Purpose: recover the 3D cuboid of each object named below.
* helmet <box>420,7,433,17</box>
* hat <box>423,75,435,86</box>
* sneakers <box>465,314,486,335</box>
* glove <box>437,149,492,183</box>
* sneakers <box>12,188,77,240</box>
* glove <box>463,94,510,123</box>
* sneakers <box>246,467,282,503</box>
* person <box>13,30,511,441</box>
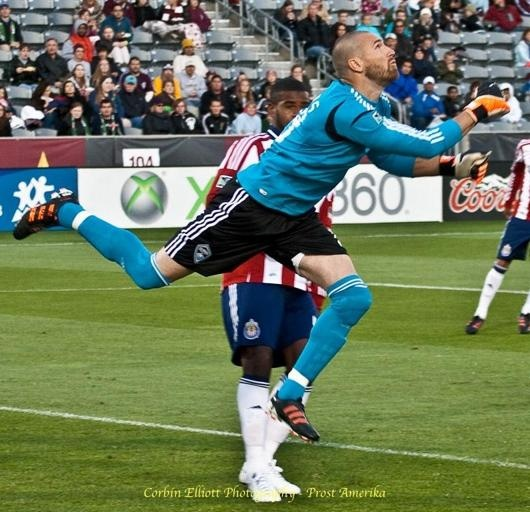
[{"bbox_3d":[3.350,-5.038,20.999,0.413,0.162,0.539,1,10,7],"label":"helmet"},{"bbox_3d":[2.931,-3.071,18.001,0.310,0.118,0.396,4,9,7],"label":"hat"},{"bbox_3d":[1.658,0.545,8.069,0.086,0.086,0.225,24,32,27],"label":"sneakers"},{"bbox_3d":[0.941,-0.420,4.819,0.229,0.093,0.154,18,49,28],"label":"glove"},{"bbox_3d":[-1.227,-0.206,5.496,0.403,0.139,0.218,-17,28,14],"label":"sneakers"},{"bbox_3d":[1.074,-0.699,4.845,0.237,0.114,0.075,-6,63,-15],"label":"glove"},{"bbox_3d":[0.001,1.027,4.533,0.143,0.095,0.186,4,14,-6],"label":"sneakers"},{"bbox_3d":[0.120,-0.233,5.035,1.697,1.766,1.208,19,20,38],"label":"person"}]
